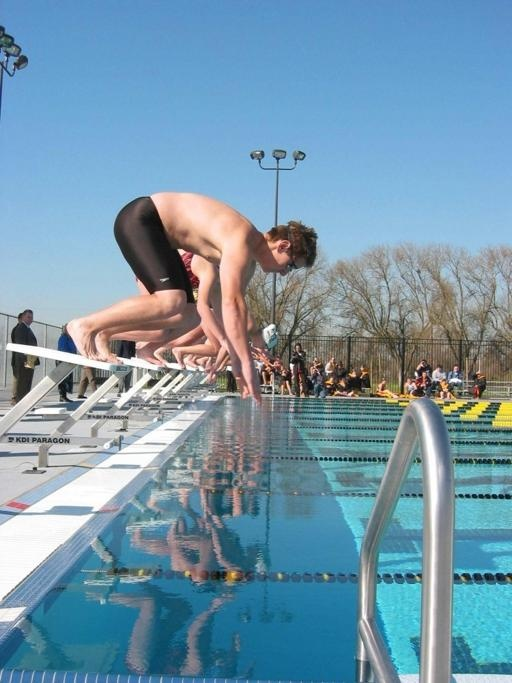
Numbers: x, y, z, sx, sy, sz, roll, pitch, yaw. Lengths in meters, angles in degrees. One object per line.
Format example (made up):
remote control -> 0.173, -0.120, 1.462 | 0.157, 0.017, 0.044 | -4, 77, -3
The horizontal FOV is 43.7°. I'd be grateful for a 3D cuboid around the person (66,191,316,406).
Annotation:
person -> -0.302, -0.252, 3.122 | 1.249, 0.970, 0.902 | 5, 4, 2
